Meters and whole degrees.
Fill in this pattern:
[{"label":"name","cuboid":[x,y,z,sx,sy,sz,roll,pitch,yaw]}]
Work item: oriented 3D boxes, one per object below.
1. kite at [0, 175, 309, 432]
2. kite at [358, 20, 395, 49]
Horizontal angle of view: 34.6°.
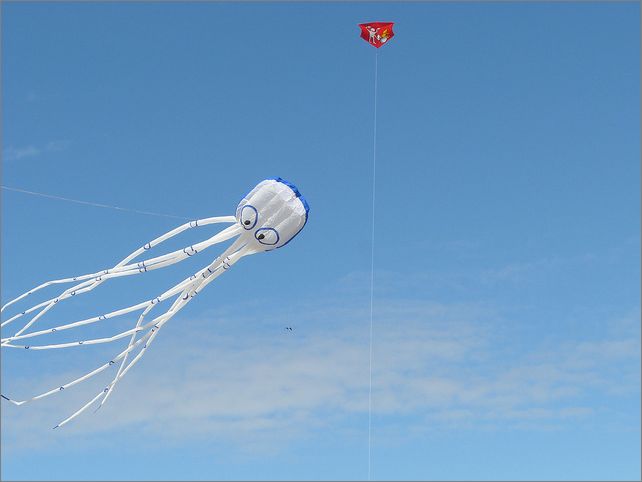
[{"label":"kite","cuboid":[-2.345,0.871,14.043,4.983,1.462,1.553,-28,-80,6]},{"label":"kite","cuboid":[0.846,-3.208,15.933,0.395,0.446,0.328,-8,-78,-24]}]
